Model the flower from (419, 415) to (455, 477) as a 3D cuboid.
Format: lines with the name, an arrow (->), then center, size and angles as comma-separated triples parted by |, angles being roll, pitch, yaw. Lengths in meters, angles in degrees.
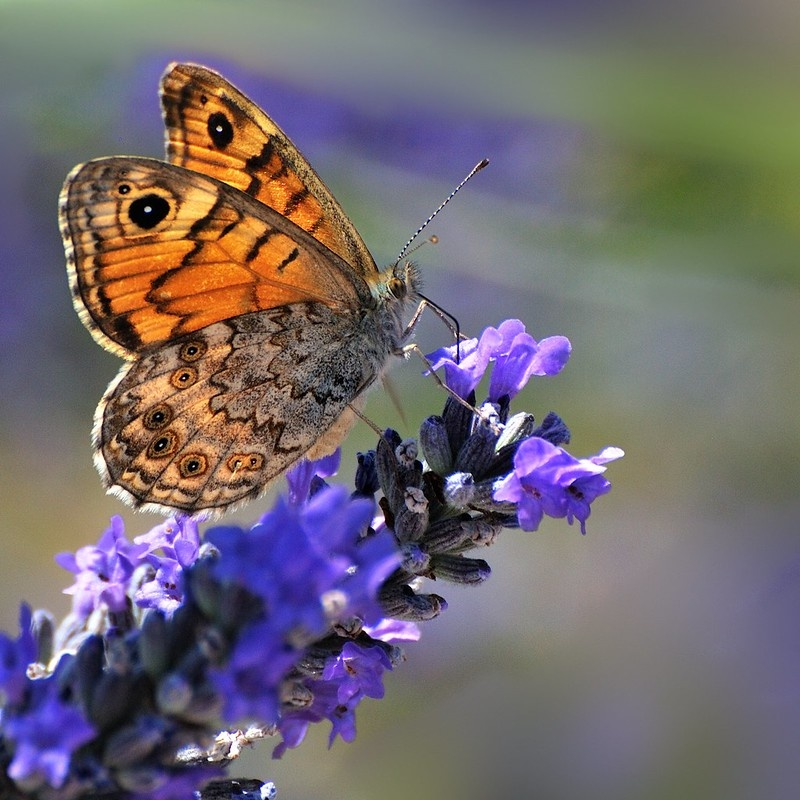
flower -> 0.098, 0.118, 3.342 | 0.087, 0.149, 0.062 | -16, 3, 43

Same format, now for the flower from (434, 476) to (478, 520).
flower -> 0.137, 0.238, 3.177 | 0.085, 0.105, 0.041 | 40, 47, 14

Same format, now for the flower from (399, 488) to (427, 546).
flower -> 0.033, 0.300, 3.187 | 0.071, 0.160, 0.057 | 19, 40, 15

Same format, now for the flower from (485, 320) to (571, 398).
flower -> 0.339, -0.105, 3.429 | 0.189, 0.224, 0.097 | 8, 33, -14
